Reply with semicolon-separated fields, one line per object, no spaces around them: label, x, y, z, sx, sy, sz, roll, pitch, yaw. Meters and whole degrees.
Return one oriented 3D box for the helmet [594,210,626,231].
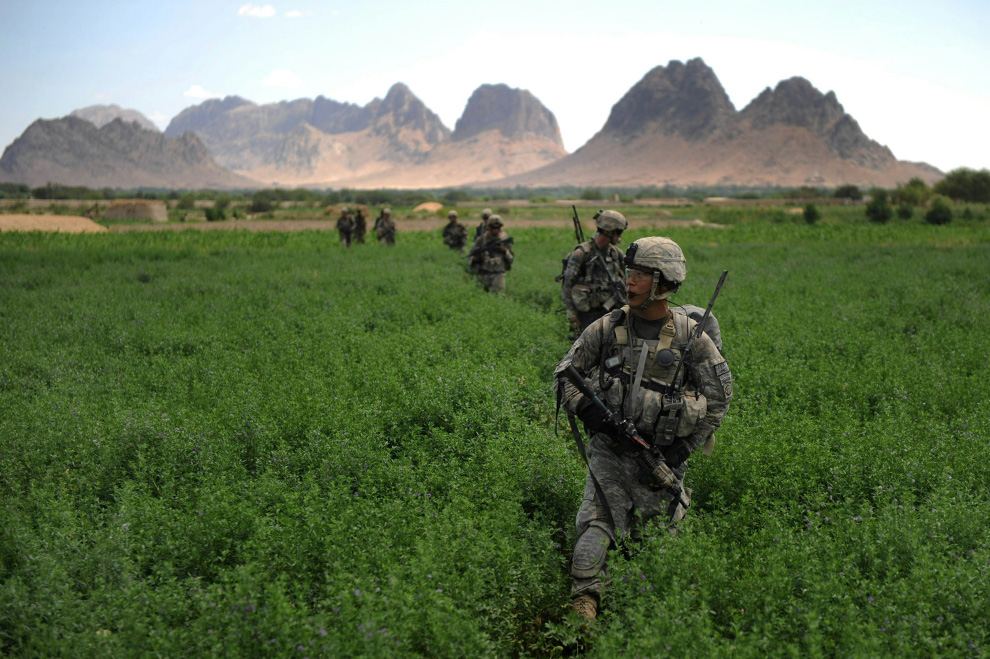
helmet;1.966;-1.852;14.747;0.516;0.338;0.379;2;10;6

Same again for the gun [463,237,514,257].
gun;0.087;-2.067;21.427;1.409;0.546;0.623;10;13;43

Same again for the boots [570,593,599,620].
boots;1.066;3.263;10.146;0.236;0.248;0.259;5;-15;0

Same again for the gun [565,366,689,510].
gun;1.680;1.287;10.581;0.723;2.224;0.310;-42;-1;-7
